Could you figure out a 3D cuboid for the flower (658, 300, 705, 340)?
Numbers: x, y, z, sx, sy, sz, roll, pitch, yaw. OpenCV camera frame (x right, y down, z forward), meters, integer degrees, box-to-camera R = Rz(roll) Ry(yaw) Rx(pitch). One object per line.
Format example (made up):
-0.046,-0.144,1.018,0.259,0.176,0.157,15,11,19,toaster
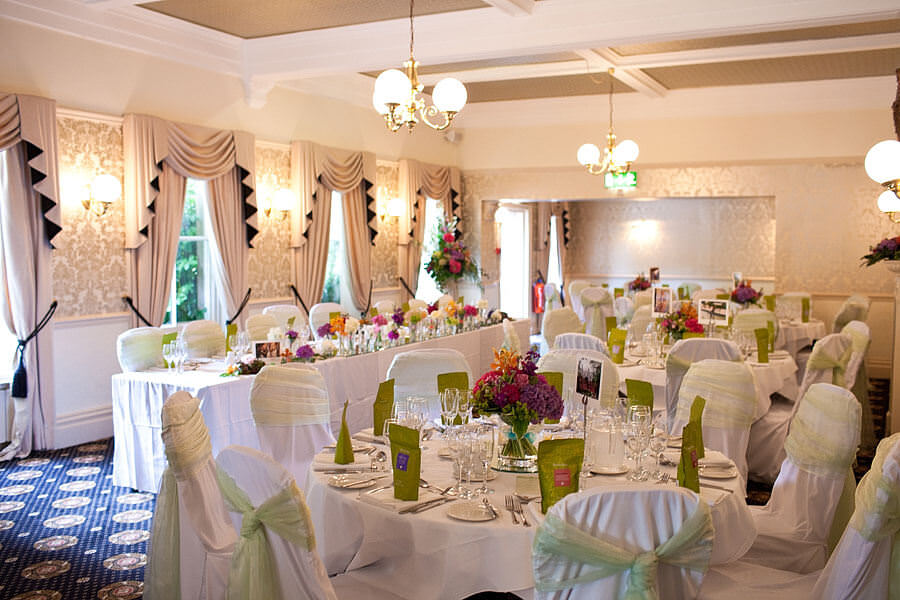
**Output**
2.399,0.179,6.751,0.381,0.427,0.366,1,9,13,flower

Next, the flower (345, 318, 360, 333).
-0.996,0.260,6.593,0.124,0.149,0.140,1,0,-1,flower

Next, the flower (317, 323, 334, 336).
-1.279,0.306,6.607,0.124,0.134,0.118,-8,13,-36,flower

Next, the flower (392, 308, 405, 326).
-0.565,0.195,7.179,0.138,0.149,0.140,-4,10,-31,flower

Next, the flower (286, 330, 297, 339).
-1.583,0.343,6.466,0.080,0.073,0.084,-1,-4,10,flower

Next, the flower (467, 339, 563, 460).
0.423,0.627,3.970,0.595,0.660,0.602,-1,2,-2,flower

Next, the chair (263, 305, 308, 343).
-1.977,0.251,7.865,0.469,0.686,0.559,0,-4,-18,chair

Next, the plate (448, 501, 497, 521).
0.116,1.132,3.443,0.261,0.052,0.172,2,2,25,plate

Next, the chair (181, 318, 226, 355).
-2.646,0.367,6.932,0.374,0.297,0.386,2,3,32,chair

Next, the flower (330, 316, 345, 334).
-1.138,0.250,6.564,0.143,0.156,0.071,9,23,-3,flower

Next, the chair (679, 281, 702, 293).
4.428,-0.238,11.918,0.367,0.244,0.375,-3,6,-22,chair

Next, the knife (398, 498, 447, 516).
-0.151,1.127,3.506,0.082,0.018,0.315,23,22,40,knife

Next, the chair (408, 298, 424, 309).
-0.501,0.059,9.267,0.211,0.221,0.219,0,3,-12,chair

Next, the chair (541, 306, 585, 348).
1.428,0.296,8.174,0.466,0.530,0.295,7,42,11,chair

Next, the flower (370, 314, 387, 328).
-0.772,0.221,6.942,0.117,0.129,0.124,-3,-5,8,flower

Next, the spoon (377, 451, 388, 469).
-0.419,0.997,4.011,0.049,0.074,0.073,-1,9,4,spoon

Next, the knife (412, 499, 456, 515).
-0.101,1.119,3.533,0.070,0.020,0.271,18,21,38,knife

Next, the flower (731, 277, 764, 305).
4.035,-0.102,8.877,0.327,0.343,0.617,3,3,36,flower

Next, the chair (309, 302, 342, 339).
-1.687,0.275,8.542,0.426,0.627,0.490,2,-3,-18,chair

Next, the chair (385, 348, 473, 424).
-0.156,0.661,4.977,0.518,0.745,0.573,0,-8,-3,chair

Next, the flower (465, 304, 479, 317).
0.264,0.143,8.282,0.121,0.148,0.144,-8,-4,-26,flower

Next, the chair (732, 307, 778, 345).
3.312,0.268,7.111,0.435,0.450,0.446,8,4,35,chair

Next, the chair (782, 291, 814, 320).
5.070,0.086,9.591,0.385,0.506,0.525,-2,-8,23,chair

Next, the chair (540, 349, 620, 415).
1.000,0.594,4.959,0.481,0.678,0.534,1,-19,5,chair

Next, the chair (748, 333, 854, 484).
3.346,0.976,6.412,1.012,1.516,1.112,8,5,16,chair

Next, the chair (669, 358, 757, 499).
2.041,1.042,5.165,0.720,1.227,0.796,3,5,8,chair

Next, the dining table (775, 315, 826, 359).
4.731,0.490,8.803,0.710,0.448,0.768,-1,2,7,dining table

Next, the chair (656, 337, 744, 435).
2.004,0.699,5.195,0.585,0.922,0.486,7,15,24,chair

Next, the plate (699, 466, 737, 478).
1.592,1.031,3.860,0.127,0.027,0.088,4,8,40,plate

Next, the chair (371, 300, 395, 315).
-0.919,0.096,8.867,0.273,0.219,0.278,-6,10,-30,chair

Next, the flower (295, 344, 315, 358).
-1.402,0.478,6.199,0.129,0.156,0.136,0,1,-22,flower
